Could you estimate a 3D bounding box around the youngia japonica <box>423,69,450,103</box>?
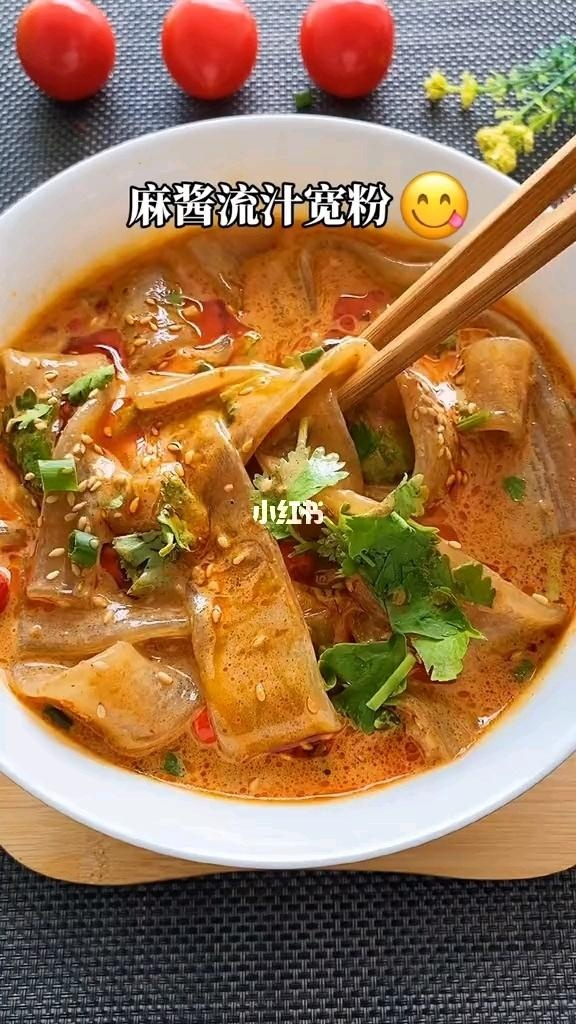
[{"bbox_3d":[0.417,-1.204,2.481,0.083,0.049,0.079,-19,61,-31],"label":"youngia japonica"}]
